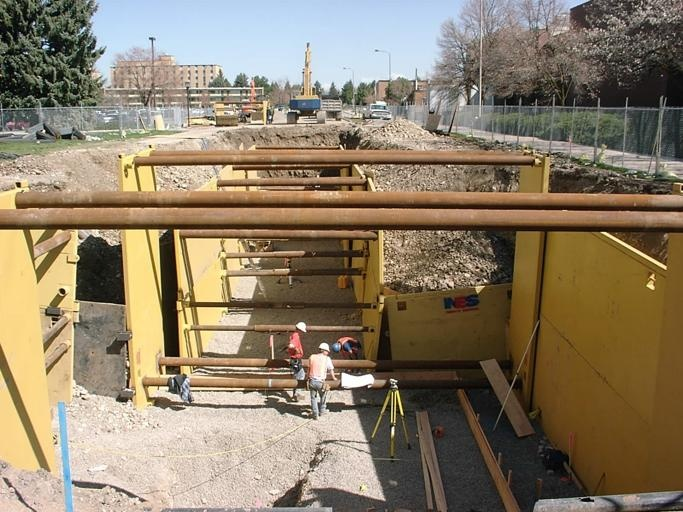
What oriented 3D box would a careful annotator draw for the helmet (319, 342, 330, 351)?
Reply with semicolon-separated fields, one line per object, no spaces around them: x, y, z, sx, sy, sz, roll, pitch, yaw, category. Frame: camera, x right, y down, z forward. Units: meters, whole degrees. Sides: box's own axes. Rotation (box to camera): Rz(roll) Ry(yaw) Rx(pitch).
-0.305;1.592;10.134;0.196;0.131;0.272;15;-9;4;helmet

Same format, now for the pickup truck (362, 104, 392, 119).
3.777;-14.805;59.402;1.887;1.559;3.875;-1;13;-3;pickup truck

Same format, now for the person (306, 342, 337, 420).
-0.338;2.180;10.162;0.441;1.320;0.560;3;14;12;person

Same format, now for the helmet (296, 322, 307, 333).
-0.773;1.373;11.151;0.200;0.146;0.276;4;-3;-12;helmet

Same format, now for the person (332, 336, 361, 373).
0.148;1.894;11.564;0.423;0.404;1.094;-7;-6;24;person
